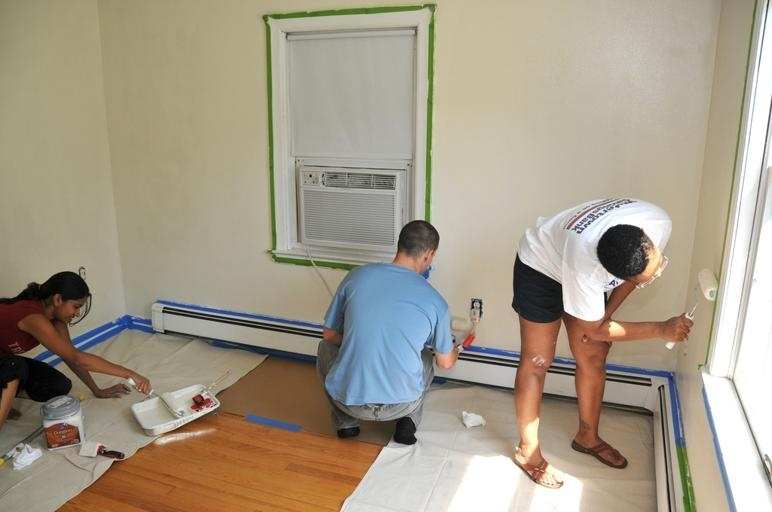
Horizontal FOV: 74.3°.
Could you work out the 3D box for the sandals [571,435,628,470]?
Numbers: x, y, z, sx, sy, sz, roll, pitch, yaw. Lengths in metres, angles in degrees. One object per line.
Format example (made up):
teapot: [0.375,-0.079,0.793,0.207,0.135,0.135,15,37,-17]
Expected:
sandals: [1.283,1.192,3.106,0.259,0.083,0.124,7,17,34]

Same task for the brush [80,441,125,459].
brush: [-1.717,1.180,3.085,0.162,0.047,0.125,14,7,2]

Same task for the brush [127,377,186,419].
brush: [-1.555,0.977,3.456,0.412,0.103,0.110,28,19,19]

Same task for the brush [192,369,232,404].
brush: [-1.230,0.924,3.676,0.045,0.031,0.334,4,15,22]

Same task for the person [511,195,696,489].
person: [1.080,0.499,2.844,0.858,1.599,0.597,8,19,30]

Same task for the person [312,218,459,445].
person: [-0.007,0.496,3.073,0.817,1.378,0.399,-5,17,-10]

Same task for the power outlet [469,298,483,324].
power outlet: [0.626,0.387,3.641,0.082,0.161,0.078,13,22,40]

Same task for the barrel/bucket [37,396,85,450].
barrel/bucket: [-1.963,1.014,3.093,0.242,0.309,0.102,-5,17,-12]

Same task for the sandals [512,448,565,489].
sandals: [0.870,1.218,2.955,0.125,0.071,0.259,-18,18,-30]
